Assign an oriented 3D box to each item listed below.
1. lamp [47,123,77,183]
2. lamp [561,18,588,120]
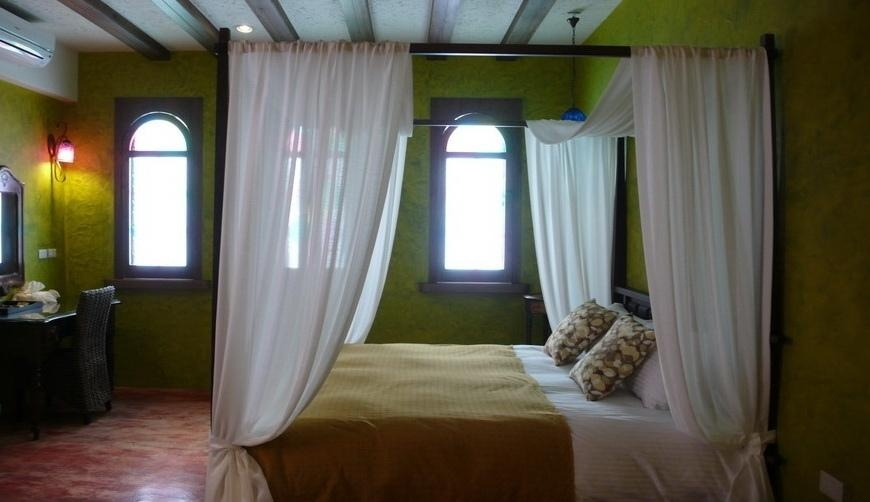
[{"bbox_3d":[-4.074,-1.089,6.766,0.227,0.634,0.174,3,3,6],"label":"lamp"},{"bbox_3d":[1.401,-1.761,6.196,0.306,1.160,0.286,-4,15,-1],"label":"lamp"}]
